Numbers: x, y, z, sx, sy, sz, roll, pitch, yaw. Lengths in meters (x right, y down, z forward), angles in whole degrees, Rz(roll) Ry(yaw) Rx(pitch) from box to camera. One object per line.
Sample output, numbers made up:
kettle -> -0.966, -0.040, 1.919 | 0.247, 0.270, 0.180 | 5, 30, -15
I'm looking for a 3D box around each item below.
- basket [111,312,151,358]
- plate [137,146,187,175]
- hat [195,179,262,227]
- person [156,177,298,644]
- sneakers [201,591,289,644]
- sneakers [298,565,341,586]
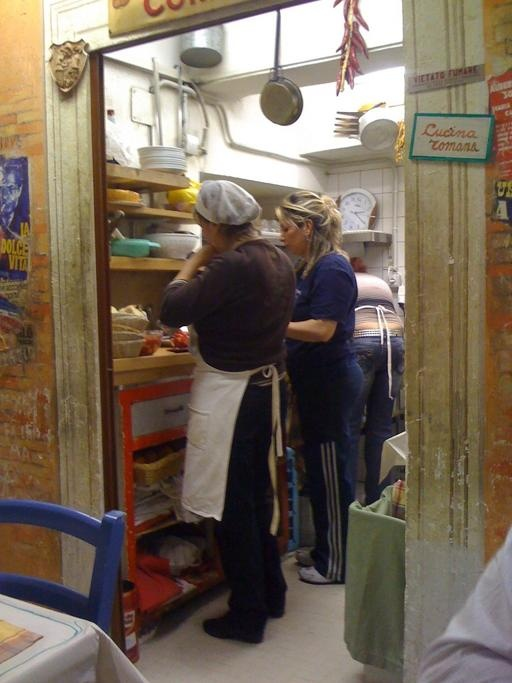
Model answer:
basket -> -0.418, -0.023, 2.054 | 0.125, 0.102, 0.144 | 1, -6, -6
plate -> -0.341, -0.669, 2.332 | 0.142, 0.060, 0.128 | 4, 8, 31
hat -> -0.085, -0.441, 1.919 | 0.165, 0.085, 0.153 | 25, 41, 15
person -> -0.073, 0.247, 2.007 | 0.471, 1.513, 0.361 | -3, 5, -20
sneakers -> -0.049, 0.958, 2.146 | 0.273, 0.184, 0.109 | 5, -1, 25
sneakers -> 0.242, 0.947, 2.486 | 0.111, 0.043, 0.065 | -2, -2, 12
